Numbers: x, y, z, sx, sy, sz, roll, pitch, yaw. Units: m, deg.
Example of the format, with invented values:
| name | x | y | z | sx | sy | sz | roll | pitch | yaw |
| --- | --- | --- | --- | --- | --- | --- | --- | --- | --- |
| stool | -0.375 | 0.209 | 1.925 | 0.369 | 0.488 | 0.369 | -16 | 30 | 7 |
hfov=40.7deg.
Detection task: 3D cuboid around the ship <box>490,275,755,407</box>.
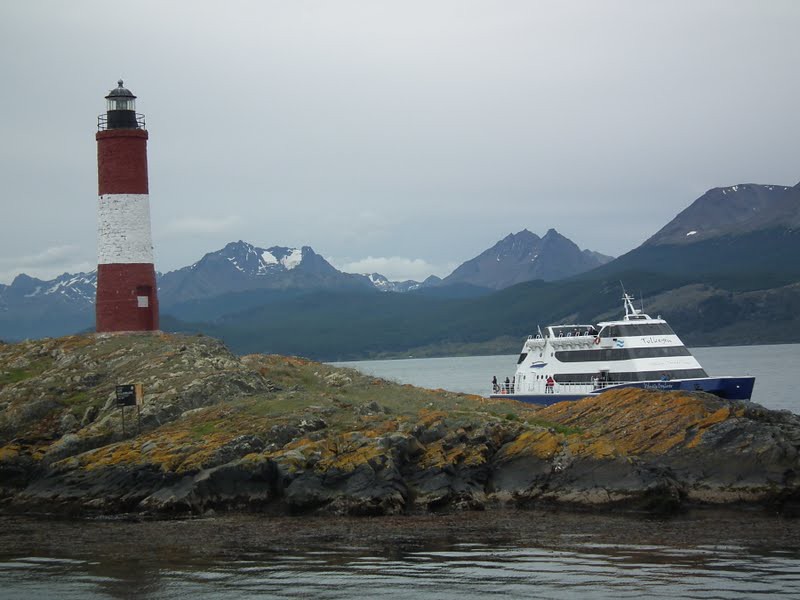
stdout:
| name | x | y | z | sx | sy | sz | roll | pitch | yaw |
| --- | --- | --- | --- | --- | --- | --- | --- | --- | --- |
| ship | 17.384 | 4.895 | 89.891 | 8.269 | 6.614 | 22.179 | -2 | -4 | -32 |
